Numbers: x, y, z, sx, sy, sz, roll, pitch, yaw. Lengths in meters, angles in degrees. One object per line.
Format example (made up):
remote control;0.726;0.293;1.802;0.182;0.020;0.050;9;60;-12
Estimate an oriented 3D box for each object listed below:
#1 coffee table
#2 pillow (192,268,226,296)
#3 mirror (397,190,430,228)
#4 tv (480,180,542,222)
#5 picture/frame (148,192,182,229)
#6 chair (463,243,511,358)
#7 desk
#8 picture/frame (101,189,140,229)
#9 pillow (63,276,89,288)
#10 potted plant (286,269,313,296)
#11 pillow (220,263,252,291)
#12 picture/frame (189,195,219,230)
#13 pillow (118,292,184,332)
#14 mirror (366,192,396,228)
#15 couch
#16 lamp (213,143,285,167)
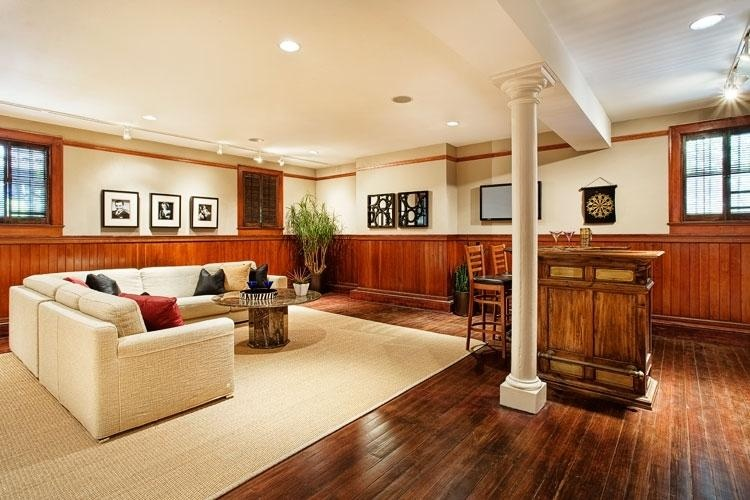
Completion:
coffee table;-1.543;0.829;6.212;0.977;0.440;0.960;-1;2;-26
pillow;-2.637;0.537;7.078;0.400;0.393;0.152;1;-21;-9
mirror;0.749;-0.780;8.491;0.707;0.714;0.050;3;4;43
tv;1.934;-0.692;6.359;0.932;0.667;0.084;3;3;44
picture/frame;-3.782;-0.696;7.986;0.078;0.799;0.663;1;-1;37
chair;1.580;0.762;6.298;0.647;1.429;1.483;-2;-2;23
desk;2.396;0.885;4.838;1.615;1.992;1.049;1;2;34
picture/frame;-4.320;-0.686;7.514;0.039;0.477;0.584;6;22;41
pillow;-3.879;0.410;5.783;0.327;0.113;0.368;17;-6;-40
potted plant;-1.390;0.597;8.601;0.615;0.631;0.597;-1;2;-8
pillow;-2.266;0.461;7.232;0.392;0.371;0.151;-3;-5;-2
picture/frame;-3.276;-0.702;8.473;0.082;0.802;0.663;1;-1;41
pillow;-2.423;0.664;4.825;0.785;0.525;0.284;8;10;24
mirror;0.142;-0.794;8.952;0.704;0.680;0.072;2;3;45
couch;-2.887;1.061;4.827;2.002;0.751;2.317;3;2;36
lamp;-2.329;-1.872;8.951;0.821;0.301;1.841;5;8;41
